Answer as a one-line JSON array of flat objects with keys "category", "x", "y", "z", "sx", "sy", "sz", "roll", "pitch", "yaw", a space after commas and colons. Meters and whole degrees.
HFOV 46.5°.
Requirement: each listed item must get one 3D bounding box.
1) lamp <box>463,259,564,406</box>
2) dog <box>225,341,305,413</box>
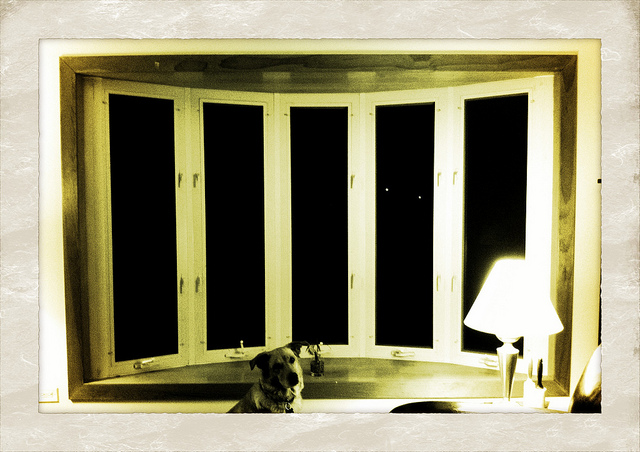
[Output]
[{"category": "lamp", "x": 0.974, "y": 0.546, "z": 3.757, "sx": 0.469, "sy": 0.749, "sz": 0.194, "roll": -1, "pitch": -2, "yaw": 10}, {"category": "dog", "x": -0.224, "y": 0.780, "z": 3.784, "sx": 0.208, "sy": 0.253, "sz": 0.504, "roll": 12, "pitch": -39, "yaw": -35}]
